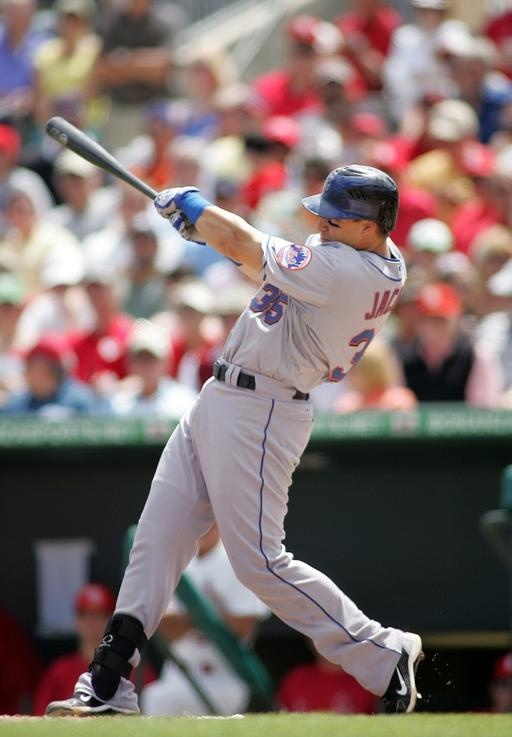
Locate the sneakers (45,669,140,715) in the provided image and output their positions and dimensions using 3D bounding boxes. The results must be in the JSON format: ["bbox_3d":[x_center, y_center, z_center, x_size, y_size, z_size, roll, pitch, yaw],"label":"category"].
[{"bbox_3d":[-0.385,0.799,2.410,0.280,0.089,0.106,6,77,-20],"label":"sneakers"}]

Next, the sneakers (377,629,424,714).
[{"bbox_3d":[0.357,0.766,2.533,0.086,0.115,0.222,-10,71,49],"label":"sneakers"}]
